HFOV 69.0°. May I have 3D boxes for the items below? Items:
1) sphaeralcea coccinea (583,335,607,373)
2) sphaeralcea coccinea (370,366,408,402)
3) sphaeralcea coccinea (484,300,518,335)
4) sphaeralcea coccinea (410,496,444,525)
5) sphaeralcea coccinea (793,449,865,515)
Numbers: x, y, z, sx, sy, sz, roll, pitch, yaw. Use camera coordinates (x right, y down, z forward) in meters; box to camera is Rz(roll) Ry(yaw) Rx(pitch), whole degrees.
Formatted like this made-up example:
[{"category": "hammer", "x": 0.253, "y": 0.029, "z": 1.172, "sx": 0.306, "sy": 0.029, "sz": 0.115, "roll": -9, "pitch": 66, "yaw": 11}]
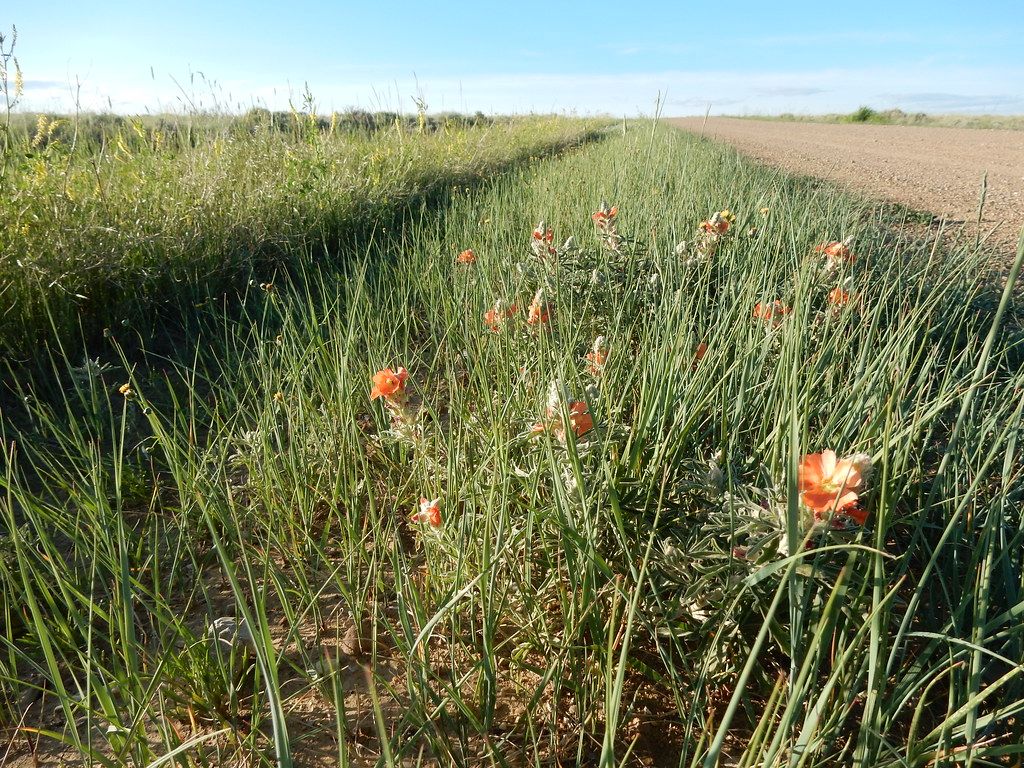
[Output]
[{"category": "sphaeralcea coccinea", "x": 0.283, "y": -0.096, "z": 2.549, "sx": 0.062, "sy": 0.090, "sz": 0.133, "roll": -18, "pitch": 24, "yaw": 9}, {"category": "sphaeralcea coccinea", "x": -0.345, "y": -0.006, "z": 2.105, "sx": 0.087, "sy": 0.104, "sz": 0.152, "roll": -4, "pitch": 22, "yaw": -11}, {"category": "sphaeralcea coccinea", "x": -0.039, "y": -0.251, "z": 2.733, "sx": 0.093, "sy": 0.109, "sz": 0.106, "roll": -1, "pitch": 25, "yaw": 3}, {"category": "sphaeralcea coccinea", "x": -0.233, "y": 0.358, "z": 2.084, "sx": 0.034, "sy": 0.094, "sz": 0.080, "roll": -9, "pitch": -12, "yaw": -30}, {"category": "sphaeralcea coccinea", "x": 0.712, "y": 0.221, "z": 1.698, "sx": 0.114, "sy": 0.060, "sz": 0.142, "roll": -8, "pitch": 25, "yaw": 27}]
